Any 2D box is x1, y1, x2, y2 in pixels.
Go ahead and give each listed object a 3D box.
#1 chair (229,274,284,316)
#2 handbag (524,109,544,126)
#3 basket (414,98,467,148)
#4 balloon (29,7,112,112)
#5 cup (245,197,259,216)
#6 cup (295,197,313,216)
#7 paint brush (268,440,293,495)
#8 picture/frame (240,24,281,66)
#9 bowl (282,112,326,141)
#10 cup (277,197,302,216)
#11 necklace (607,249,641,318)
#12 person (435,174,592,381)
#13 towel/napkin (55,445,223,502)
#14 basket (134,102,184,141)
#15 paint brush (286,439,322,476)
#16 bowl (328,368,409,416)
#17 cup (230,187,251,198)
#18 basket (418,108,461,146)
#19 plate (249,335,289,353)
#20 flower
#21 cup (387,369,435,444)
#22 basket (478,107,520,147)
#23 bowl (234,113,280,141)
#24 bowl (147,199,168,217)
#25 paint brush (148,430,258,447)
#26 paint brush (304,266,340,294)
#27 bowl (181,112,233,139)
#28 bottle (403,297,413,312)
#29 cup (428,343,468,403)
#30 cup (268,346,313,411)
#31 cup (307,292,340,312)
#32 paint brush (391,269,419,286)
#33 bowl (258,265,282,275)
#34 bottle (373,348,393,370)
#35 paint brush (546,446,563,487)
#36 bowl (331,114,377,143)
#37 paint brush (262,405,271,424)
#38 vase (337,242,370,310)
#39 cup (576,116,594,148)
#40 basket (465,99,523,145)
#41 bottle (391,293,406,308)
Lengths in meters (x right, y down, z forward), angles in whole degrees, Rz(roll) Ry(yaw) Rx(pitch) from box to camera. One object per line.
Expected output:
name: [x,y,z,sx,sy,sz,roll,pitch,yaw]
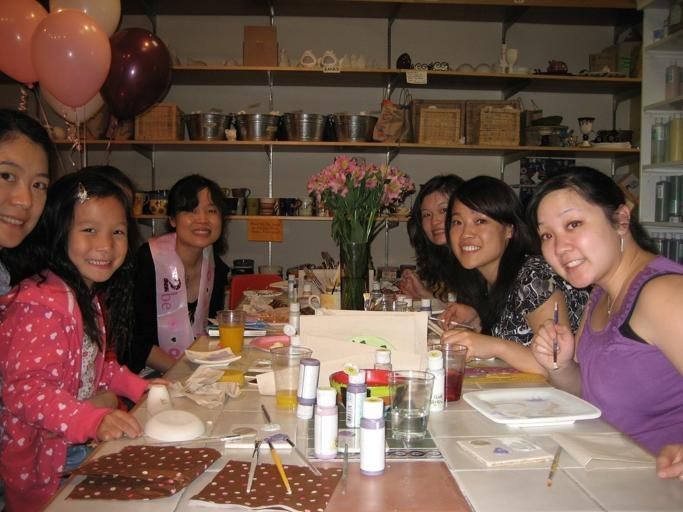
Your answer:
chair: [-0.599,0.262,3.723,0.265,0.410,0.284,3,-13,-14]
handbag: [1.561,-1.127,4.335,0.157,0.142,0.258,3,12,14]
basket: [0.762,-1.047,4.193,0.379,0.376,0.376,0,5,1]
balloon: [-1.374,-1.003,2.672,0.338,0.458,0.241,-2,12,-7]
cup: [-0.723,-0.391,4.247,0.127,0.142,0.129,1,1,0]
cup: [-0.291,-0.392,4.211,0.131,0.146,0.131,0,-2,0]
paint brush: [-0.136,0.449,1.157,0.023,0.019,0.167,-18,42,-6]
picture/frame: [-0.635,-1.640,4.146,0.269,0.327,0.165,-1,12,-5]
bowl: [-0.284,-0.990,4.099,0.248,0.134,0.261,2,10,0]
cup: [-0.427,-0.392,4.249,0.169,0.120,0.133,1,0,-8]
necklace: [0.880,0.117,1.664,0.043,0.121,0.089,33,-29,4]
person: [0.680,0.058,2.225,0.721,0.944,0.819,-1,2,2]
towel/napkin: [-0.414,0.462,1.118,0.191,0.041,0.195,1,5,2]
basket: [-1.442,-1.013,4.190,0.325,0.243,0.333,0,4,0]
paint brush: [-0.086,0.456,1.190,0.028,0.010,0.194,-5,18,-24]
bowl: [0.064,0.383,1.453,0.211,0.093,0.205,4,-7,0]
cup: [-0.833,-0.510,4.359,0.126,0.088,0.097,1,3,-2]
basket: [0.786,-1.023,4.199,0.361,0.292,0.136,0,12,-1]
plate: [-0.271,0.326,1.984,0.147,0.043,0.104,0,2,-2]
flower: [0.059,-0.125,2.780,0.704,0.998,0.670,1,0,-5]
cup: [0.164,0.369,1.282,0.134,0.158,0.141,1,-7,0]
basket: [1.227,-1.025,4.183,0.280,0.265,0.159,1,15,-1]
bowl: [-0.676,-0.986,4.116,0.258,0.131,0.254,0,5,0]
bowl: [-1.437,-0.376,4.127,0.195,0.171,0.064,2,13,-1]
paint brush: [-0.329,0.434,1.257,0.248,0.016,0.081,2,11,-3]
paint brush: [-0.110,0.137,2.840,0.176,0.081,0.231,0,-1,-2]
bowl: [-1.058,-1.014,4.156,0.373,0.222,0.191,-2,12,-8]
bottle: [0.289,0.219,2.342,0.046,0.069,0.070,0,-3,3]
cup: [0.314,0.327,1.496,0.141,0.173,0.130,-1,-3,0]
cup: [-0.149,0.332,1.454,0.157,0.179,0.141,1,-6,1]
cup: [-0.087,0.219,2.507,0.130,0.089,0.083,1,1,15]
paint brush: [0.433,0.154,3.653,0.075,0.065,0.125,-23,-2,-45]
bowl: [-0.583,0.107,4.285,0.121,0.055,0.093,0,3,-36]
bottle: [0.110,0.277,1.421,0.052,0.075,0.053,0,-2,0]
paint brush: [0.455,0.458,1.147,0.023,0.018,0.217,2,5,16]
bowl: [0.124,-0.988,4.138,0.276,0.135,0.252,0,8,0]
paint brush: [-0.195,0.413,1.367,0.012,0.011,0.089,-11,32,-10]
vase: [0.059,0.095,2.480,0.138,0.301,0.173,0,12,0]
cup: [2.079,-1.063,4.506,0.134,0.266,0.603,5,13,24]
basket: [1.205,-1.023,4.249,0.378,0.337,0.385,1,4,1]
bottle: [0.231,0.193,2.140,0.036,0.062,0.062,0,-1,8]
